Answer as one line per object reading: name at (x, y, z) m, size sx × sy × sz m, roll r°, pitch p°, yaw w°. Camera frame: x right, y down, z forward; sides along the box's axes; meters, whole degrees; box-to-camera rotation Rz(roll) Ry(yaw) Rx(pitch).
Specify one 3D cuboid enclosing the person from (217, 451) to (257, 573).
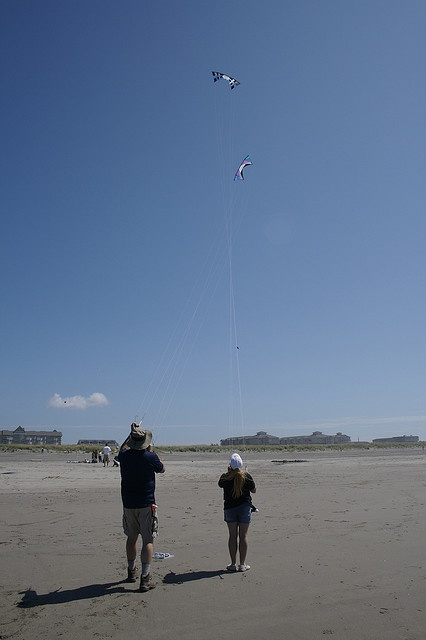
person at (0.299, 2.314, 6.220) m, size 0.432 × 1.322 × 0.481 m, roll -2°, pitch -11°, yaw -1°

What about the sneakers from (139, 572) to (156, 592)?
sneakers at (-0.692, 2.710, 5.244) m, size 0.081 × 0.168 × 0.216 m, roll -2°, pitch -9°, yaw 25°

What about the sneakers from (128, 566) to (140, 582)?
sneakers at (-0.884, 2.785, 5.571) m, size 0.075 × 0.145 × 0.204 m, roll 1°, pitch -5°, yaw 5°

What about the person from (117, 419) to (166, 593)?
person at (-0.814, 2.011, 5.665) m, size 0.592 × 1.696 × 0.441 m, roll -12°, pitch -15°, yaw 41°
